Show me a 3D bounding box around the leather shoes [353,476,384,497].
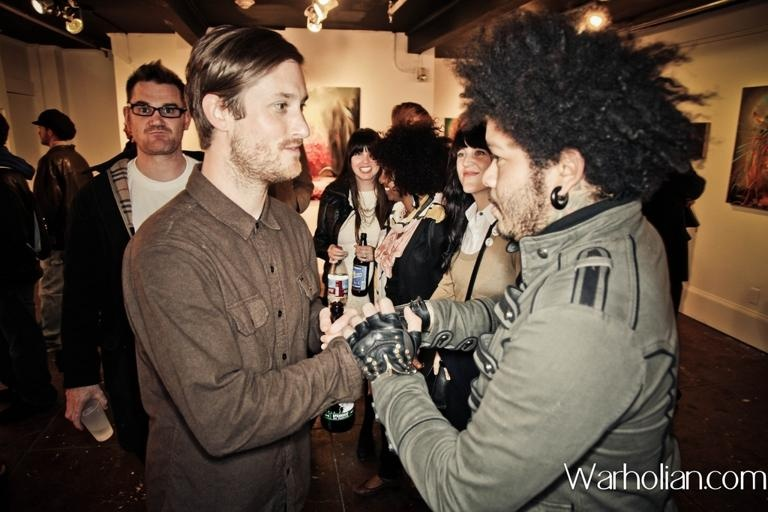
[{"bbox_3d":[-0.089,1.560,3.498,0.238,0.062,0.090,-6,13,-38],"label":"leather shoes"}]

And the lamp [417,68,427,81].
[{"bbox_3d":[0.552,-2.645,7.480,0.136,0.242,0.135,7,-21,7],"label":"lamp"}]
